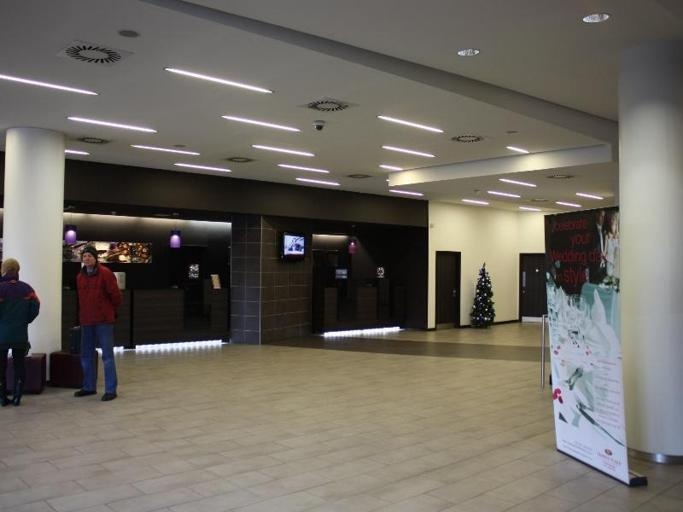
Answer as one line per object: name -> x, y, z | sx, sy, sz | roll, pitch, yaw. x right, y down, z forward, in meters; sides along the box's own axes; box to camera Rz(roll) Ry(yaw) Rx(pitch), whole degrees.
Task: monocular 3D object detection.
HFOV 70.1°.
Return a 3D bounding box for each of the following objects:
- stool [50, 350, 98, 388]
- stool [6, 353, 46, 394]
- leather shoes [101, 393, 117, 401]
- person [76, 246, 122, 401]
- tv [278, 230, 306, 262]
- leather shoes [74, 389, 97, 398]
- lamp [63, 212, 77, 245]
stool -> -4.312, 1.757, 7.994 | 0.688, 0.700, 0.715 | 0, -1, -4
stool -> -4.690, 1.778, 7.492 | 0.549, 0.582, 0.570 | 1, -4, -5
leather shoes -> -3.378, 2.034, 7.096 | 0.230, 0.095, 0.165 | 2, -2, -40
person -> -3.594, 0.974, 7.188 | 0.575, 2.212, 0.565 | 2, -2, -29
tv -> -1.415, -0.273, 13.473 | 0.117, 0.756, 0.836 | -5, -5, 44
leather shoes -> -3.826, 2.055, 7.310 | 0.323, 0.142, 0.115 | 14, -12, -39
lamp -> -7.195, -0.720, 12.935 | 0.322, 0.840, 0.597 | 2, -2, -30
